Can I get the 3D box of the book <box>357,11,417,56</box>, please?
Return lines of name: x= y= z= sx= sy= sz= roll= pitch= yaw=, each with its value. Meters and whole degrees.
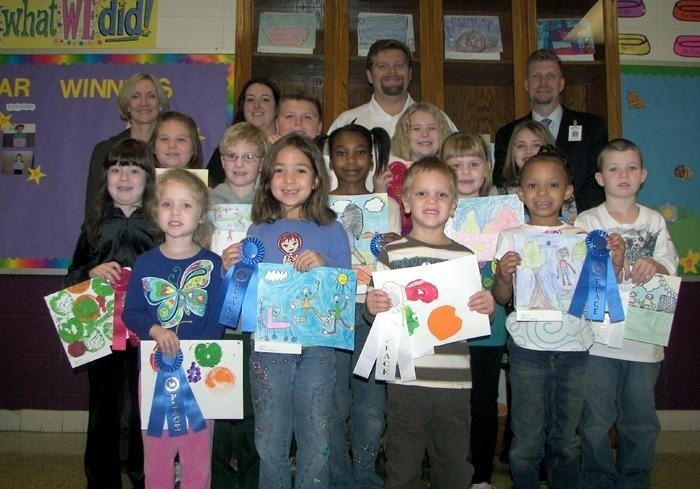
book: x=0.276 y=-1.650 z=5.018 sx=0.586 sy=0.459 sz=0.127 roll=1 pitch=-8 yaw=-5

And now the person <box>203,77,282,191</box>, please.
person: x=-0.781 y=-0.831 z=4.673 sx=0.533 sy=0.819 sz=0.237 roll=24 pitch=-3 yaw=-37

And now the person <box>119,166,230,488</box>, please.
person: x=-0.983 y=0.446 z=3.545 sx=0.527 sy=1.736 sz=0.434 roll=0 pitch=4 yaw=-19
